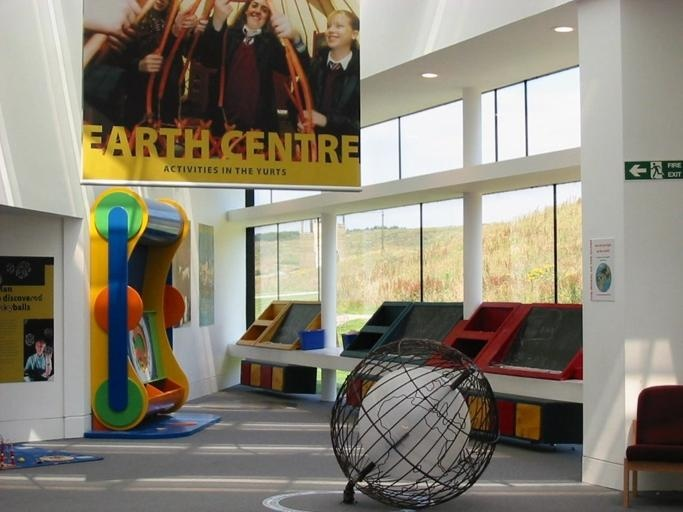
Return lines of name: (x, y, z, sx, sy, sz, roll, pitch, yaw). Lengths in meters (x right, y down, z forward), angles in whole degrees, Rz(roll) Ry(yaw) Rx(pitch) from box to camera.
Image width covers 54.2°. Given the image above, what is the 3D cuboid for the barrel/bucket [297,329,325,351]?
barrel/bucket: (-0.513, 1.540, 12.103, 0.487, 0.403, 0.290, 3, -9, -28)
